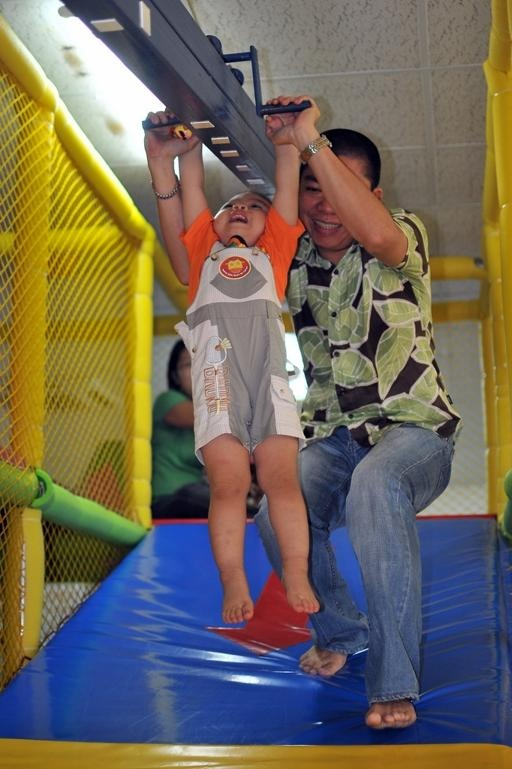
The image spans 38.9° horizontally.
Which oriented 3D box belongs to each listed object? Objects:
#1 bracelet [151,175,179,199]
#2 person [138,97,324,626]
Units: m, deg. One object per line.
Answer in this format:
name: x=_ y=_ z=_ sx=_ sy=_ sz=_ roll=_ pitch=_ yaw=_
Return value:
bracelet: x=-0.218 y=-0.477 z=1.742 sx=0.052 sy=0.060 sz=0.021 roll=-5 pitch=5 yaw=-2
person: x=-0.032 y=-0.072 z=1.571 sx=0.367 sy=1.117 sz=0.251 roll=-5 pitch=-16 yaw=6
